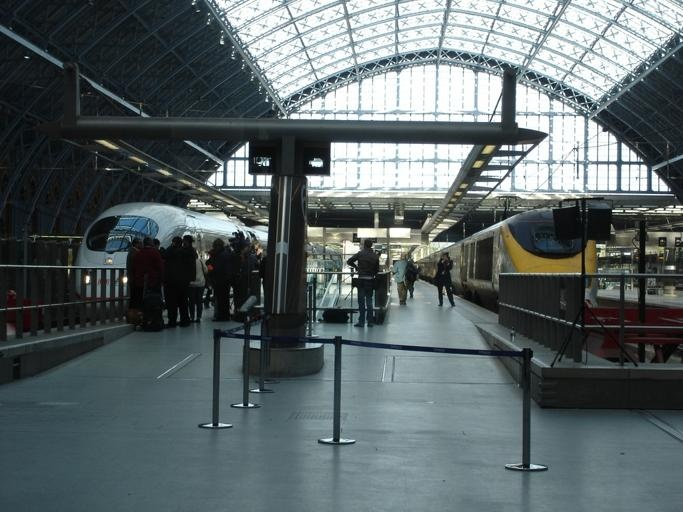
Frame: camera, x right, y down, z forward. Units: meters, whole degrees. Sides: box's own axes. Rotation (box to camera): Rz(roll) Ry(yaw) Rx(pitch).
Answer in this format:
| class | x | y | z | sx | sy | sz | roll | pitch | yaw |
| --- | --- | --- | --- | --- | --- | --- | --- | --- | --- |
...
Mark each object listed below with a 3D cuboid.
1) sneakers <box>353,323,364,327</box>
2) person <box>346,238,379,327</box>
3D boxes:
| class | x | y | z | sx | sy | sz | roll | pitch | yaw |
| --- | --- | --- | --- | --- | --- | --- | --- | --- | --- |
| sneakers | 0.491 | 1.865 | 17.315 | 0.111 | 0.121 | 0.319 | 2 | 1 | -34 |
| person | 0.606 | 0.743 | 16.783 | 0.726 | 2.291 | 1.096 | 0 | -3 | 15 |
